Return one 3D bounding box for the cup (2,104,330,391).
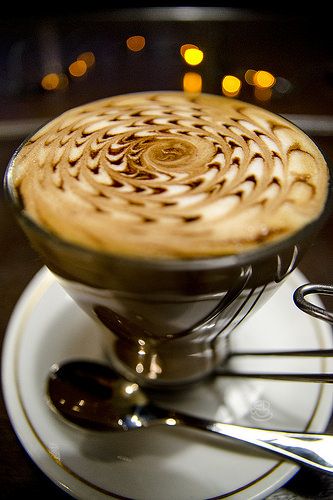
[{"bbox_3d":[0.001,0.033,0.718,0.461,0.306,0.366,0,44,1],"label":"cup"}]
